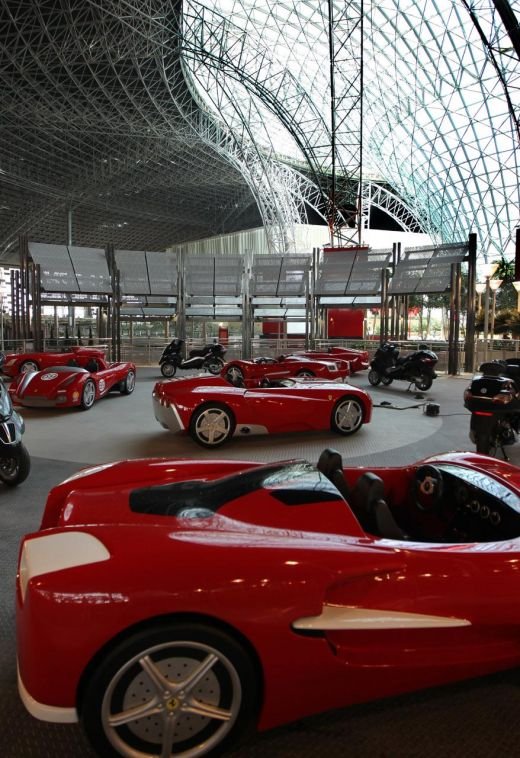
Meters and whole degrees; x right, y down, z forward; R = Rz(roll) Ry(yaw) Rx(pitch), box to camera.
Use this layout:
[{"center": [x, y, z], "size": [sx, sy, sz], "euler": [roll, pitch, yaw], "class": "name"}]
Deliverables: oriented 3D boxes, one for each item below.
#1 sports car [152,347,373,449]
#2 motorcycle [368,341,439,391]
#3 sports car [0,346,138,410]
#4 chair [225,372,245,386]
[{"center": [0.049, 0.305, 6.778], "size": [2.406, 0.751, 1.323], "euler": [-1, 3, -15], "class": "sports car"}, {"center": [3.648, -0.245, 12.979], "size": [0.492, 1.108, 1.827], "euler": [-1, 8, -39], "class": "motorcycle"}, {"center": [-3.515, 0.041, 9.913], "size": [1.433, 0.843, 2.762], "euler": [1, 4, 14], "class": "sports car"}, {"center": [-0.451, 0.002, 8.952], "size": [0.197, 0.189, 0.157], "euler": [-18, 27, -31], "class": "chair"}]
